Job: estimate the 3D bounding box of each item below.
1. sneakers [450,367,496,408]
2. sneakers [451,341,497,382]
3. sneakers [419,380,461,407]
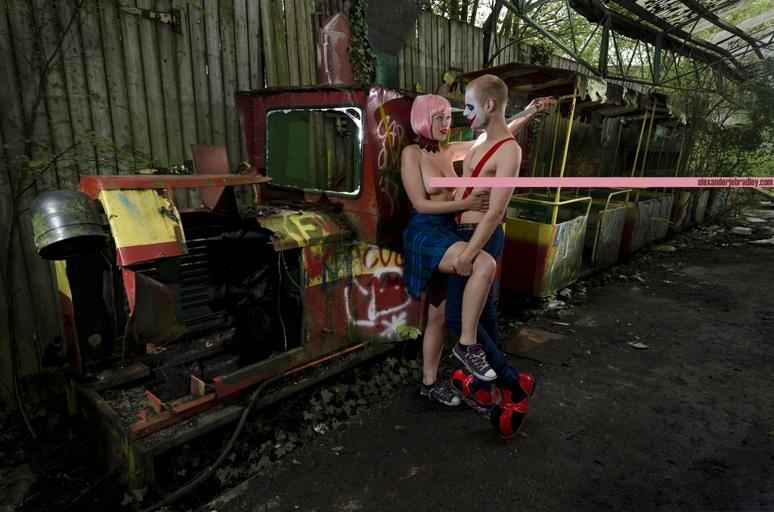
[{"bbox_3d":[0.899,1.353,5.636,0.227,0.306,0.674,-12,15,-25],"label":"sneakers"},{"bbox_3d":[0.843,0.971,5.347,0.196,0.250,0.572,-27,43,-34],"label":"sneakers"},{"bbox_3d":[0.576,1.446,5.805,0.478,0.229,0.194,8,22,26],"label":"sneakers"}]
